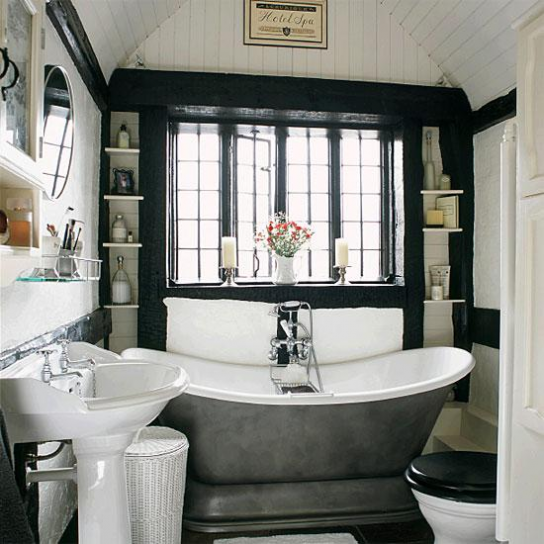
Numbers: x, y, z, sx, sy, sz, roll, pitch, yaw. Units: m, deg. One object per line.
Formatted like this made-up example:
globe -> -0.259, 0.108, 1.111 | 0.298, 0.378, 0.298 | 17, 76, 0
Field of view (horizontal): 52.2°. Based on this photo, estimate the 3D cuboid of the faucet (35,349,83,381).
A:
faucet -> -0.753, 0.336, 1.970 | 0.144, 0.131, 0.071 | -4, -20, -17

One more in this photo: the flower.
flower -> 0.080, -0.243, 3.881 | 0.287, 0.266, 0.325 | 4, 7, 24

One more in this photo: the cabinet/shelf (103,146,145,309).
cabinet/shelf -> -0.981, -0.316, 3.639 | 0.257, 1.056, 0.280 | 0, 1, -13

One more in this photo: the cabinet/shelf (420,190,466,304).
cabinet/shelf -> 1.267, -0.190, 3.951 | 0.205, 0.670, 0.186 | -3, 7, 38

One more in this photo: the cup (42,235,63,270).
cup -> -0.834, -0.074, 2.087 | 0.066, 0.127, 0.065 | 1, 1, 0

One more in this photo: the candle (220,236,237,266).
candle -> -0.300, -0.138, 3.858 | 0.093, 0.221, 0.147 | 1, 1, -11

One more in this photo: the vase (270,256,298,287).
vase -> 0.085, -0.011, 3.846 | 0.170, 0.224, 0.135 | 0, 1, -6

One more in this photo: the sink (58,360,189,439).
sink -> -0.517, 0.496, 2.150 | 0.372, 0.228, 0.541 | -7, 4, -12
